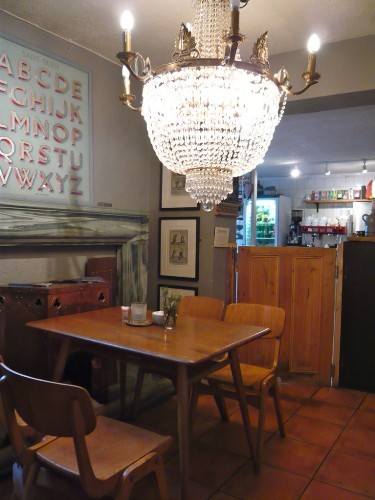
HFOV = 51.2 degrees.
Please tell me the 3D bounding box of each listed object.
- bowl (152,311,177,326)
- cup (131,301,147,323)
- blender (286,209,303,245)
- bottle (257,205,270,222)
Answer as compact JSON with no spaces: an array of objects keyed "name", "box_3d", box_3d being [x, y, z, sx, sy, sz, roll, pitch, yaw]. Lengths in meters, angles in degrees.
[{"name":"bowl","box_3d":[-0.127,0.348,2.039,0.073,0.042,0.085,3,-2,-43]},{"name":"cup","box_3d":[-0.257,0.345,2.087,0.103,0.109,0.066,6,-6,-41]},{"name":"blender","box_3d":[2.259,-0.486,8.251,0.293,0.599,0.499,2,1,15]},{"name":"bottle","box_3d":[1.592,-0.768,8.169,0.044,0.475,0.320,0,0,-44]}]
